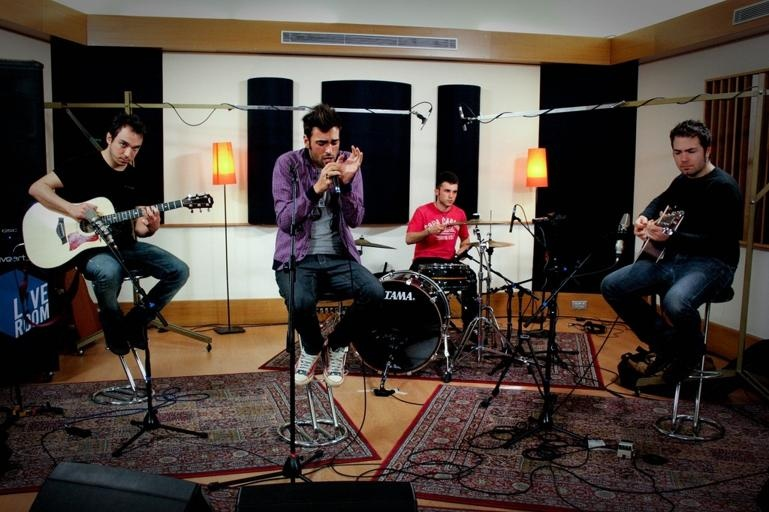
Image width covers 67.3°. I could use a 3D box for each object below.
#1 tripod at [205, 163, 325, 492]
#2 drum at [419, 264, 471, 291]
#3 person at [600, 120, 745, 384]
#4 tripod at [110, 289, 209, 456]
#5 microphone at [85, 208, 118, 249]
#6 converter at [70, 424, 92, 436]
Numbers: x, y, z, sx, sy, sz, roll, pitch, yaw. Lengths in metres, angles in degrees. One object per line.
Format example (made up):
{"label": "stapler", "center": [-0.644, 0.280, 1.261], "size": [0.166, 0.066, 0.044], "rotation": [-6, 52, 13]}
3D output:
{"label": "tripod", "center": [-0.728, 0.473, 3.952], "size": [0.559, 2.131, 0.955], "rotation": [1, 9, 13]}
{"label": "drum", "center": [0.615, 0.191, 5.525], "size": [0.400, 0.185, 0.278], "rotation": [3, -1, -12]}
{"label": "person", "center": [2.348, 0.023, 4.704], "size": [0.901, 2.224, 0.674], "rotation": [4, 11, 30]}
{"label": "tripod", "center": [-1.803, 0.765, 4.592], "size": [0.656, 1.188, 0.996], "rotation": [-4, 10, -19]}
{"label": "microphone", "center": [-2.324, -0.243, 4.735], "size": [0.396, 0.093, 0.108], "rotation": [49, 8, 27]}
{"label": "converter", "center": [-2.329, 1.327, 4.424], "size": [0.132, 0.032, 0.084], "rotation": [2, 1, 35]}
